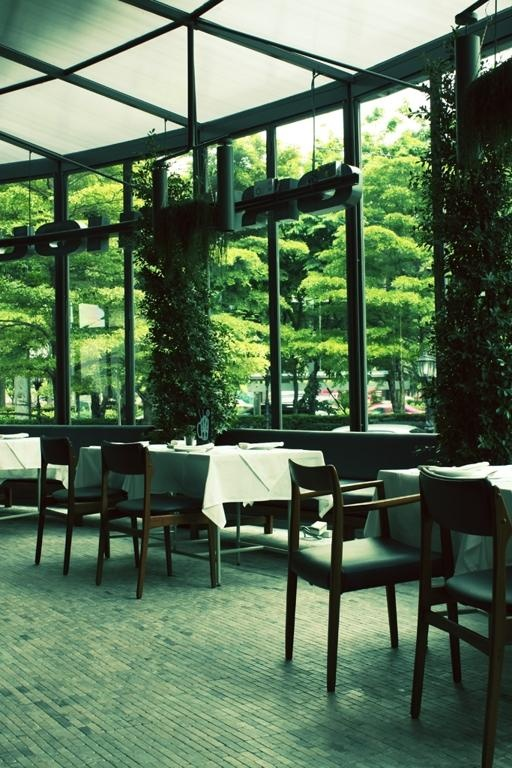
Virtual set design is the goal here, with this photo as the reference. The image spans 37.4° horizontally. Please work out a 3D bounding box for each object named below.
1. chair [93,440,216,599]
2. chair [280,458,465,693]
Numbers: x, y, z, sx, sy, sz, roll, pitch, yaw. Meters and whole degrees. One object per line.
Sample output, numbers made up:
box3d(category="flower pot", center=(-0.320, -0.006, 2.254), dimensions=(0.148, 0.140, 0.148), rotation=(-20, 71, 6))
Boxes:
box3d(category="chair", center=(-0.575, 0.756, 4.397), dimensions=(0.546, 0.822, 0.630), rotation=(-2, -4, 35))
box3d(category="chair", center=(0.366, 0.706, 3.215), dimensions=(0.786, 1.130, 0.686), rotation=(-1, -1, -15))
